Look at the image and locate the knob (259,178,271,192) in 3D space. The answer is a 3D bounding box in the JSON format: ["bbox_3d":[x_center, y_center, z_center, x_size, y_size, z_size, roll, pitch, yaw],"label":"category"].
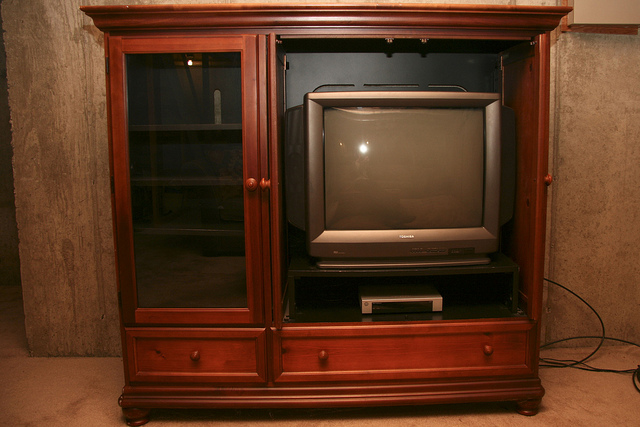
[{"bbox_3d":[-0.298,-0.157,3.347,0.061,0.044,0.040,7,15,36],"label":"knob"}]

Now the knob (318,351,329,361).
[{"bbox_3d":[0.023,0.792,3.386,0.061,0.057,0.024,-3,9,-14],"label":"knob"}]

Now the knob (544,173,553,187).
[{"bbox_3d":[1.259,-0.184,3.407,0.049,0.063,0.022,1,-6,2],"label":"knob"}]

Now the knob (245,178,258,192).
[{"bbox_3d":[-0.372,-0.153,3.348,0.068,0.076,0.022,-2,9,-7],"label":"knob"}]

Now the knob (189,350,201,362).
[{"bbox_3d":[-0.685,0.789,3.387,0.058,0.058,0.033,-1,9,-5],"label":"knob"}]

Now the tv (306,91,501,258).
[{"bbox_3d":[0.409,-0.229,3.725,1.176,0.940,0.665,-2,3,-14],"label":"tv"}]

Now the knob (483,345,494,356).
[{"bbox_3d":[0.929,0.762,3.404,0.051,0.034,0.050,-1,-4,10],"label":"knob"}]
